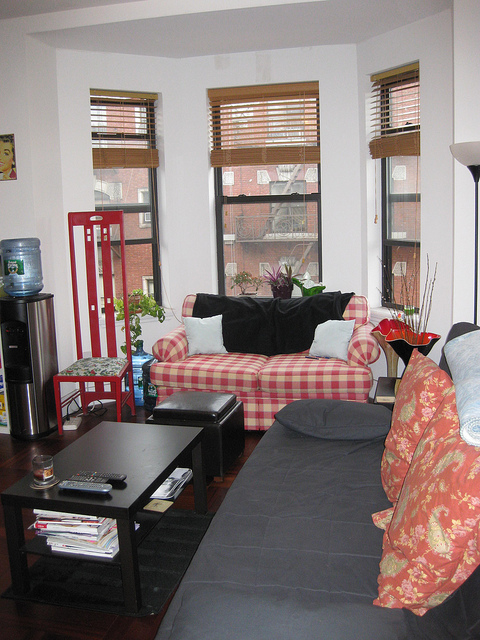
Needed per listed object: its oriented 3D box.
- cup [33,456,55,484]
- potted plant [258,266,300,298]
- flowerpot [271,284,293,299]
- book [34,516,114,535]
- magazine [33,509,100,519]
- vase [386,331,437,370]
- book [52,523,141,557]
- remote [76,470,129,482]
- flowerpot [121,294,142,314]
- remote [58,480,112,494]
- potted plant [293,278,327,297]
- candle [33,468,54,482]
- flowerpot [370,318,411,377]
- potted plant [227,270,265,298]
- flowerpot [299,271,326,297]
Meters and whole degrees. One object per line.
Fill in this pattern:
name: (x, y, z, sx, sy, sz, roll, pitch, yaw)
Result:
cup: (-0.704, 0.553, 1.973, 0.081, 0.087, 0.088, 3, 10, -1)
potted plant: (0.350, -0.307, 4.445, 0.252, 0.180, 0.256, 0, -1, 15)
flowerpot: (0.359, -0.238, 4.421, 0.179, 0.111, 0.208, -1, 7, 2)
book: (-0.581, 0.733, 1.871, 0.158, 0.037, 0.159, 2, -4, 7)
magazine: (-0.587, 0.672, 1.843, 0.141, 0.019, 0.088, 2, -8, 3)
vase: (0.900, 0.127, 2.797, 0.233, 0.208, 0.233, -2, 10, -4)
book: (-0.502, 0.765, 1.842, 0.146, 0.034, 0.145, 3, 11, 5)
remote: (-0.501, 0.570, 1.954, 0.137, 0.020, 0.067, 4, 0, 6)
flowerpot: (-0.895, -0.128, 4.458, 0.158, 0.128, 0.170, 0, -4, -7)
remote: (-0.544, 0.590, 1.881, 0.211, 0.031, 0.048, 1, 8, 20)
potted plant: (0.563, -0.248, 4.269, 0.150, 0.085, 0.149, 15, 1, -9)
candle: (-0.714, 0.557, 1.921, 0.051, 0.038, 0.051, 1, 0, 5)
flowerpot: (0.940, 0.165, 3.323, 0.223, 0.389, 0.207, 3, 11, 12)
potted plant: (0.045, -0.375, 4.806, 0.292, 0.259, 0.257, 2, 16, 3)
flowerpot: (0.584, -0.294, 4.298, 0.201, 0.184, 0.352, 1, 7, 17)
